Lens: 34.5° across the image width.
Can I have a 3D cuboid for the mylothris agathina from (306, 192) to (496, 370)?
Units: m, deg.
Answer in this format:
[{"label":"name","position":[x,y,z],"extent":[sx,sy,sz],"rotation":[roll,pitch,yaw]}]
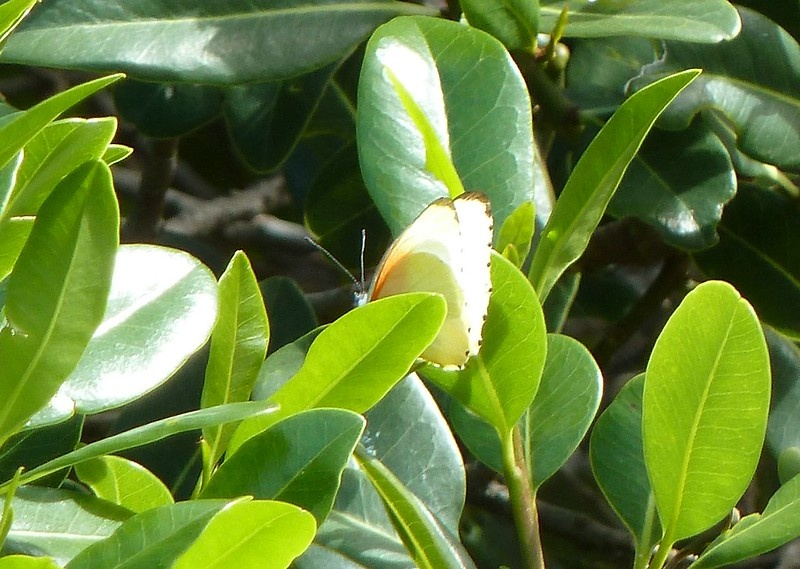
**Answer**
[{"label":"mylothris agathina","position":[0.034,0.025,1.303],"extent":[0.142,0.127,0.168],"rotation":[-7,-24,36]}]
